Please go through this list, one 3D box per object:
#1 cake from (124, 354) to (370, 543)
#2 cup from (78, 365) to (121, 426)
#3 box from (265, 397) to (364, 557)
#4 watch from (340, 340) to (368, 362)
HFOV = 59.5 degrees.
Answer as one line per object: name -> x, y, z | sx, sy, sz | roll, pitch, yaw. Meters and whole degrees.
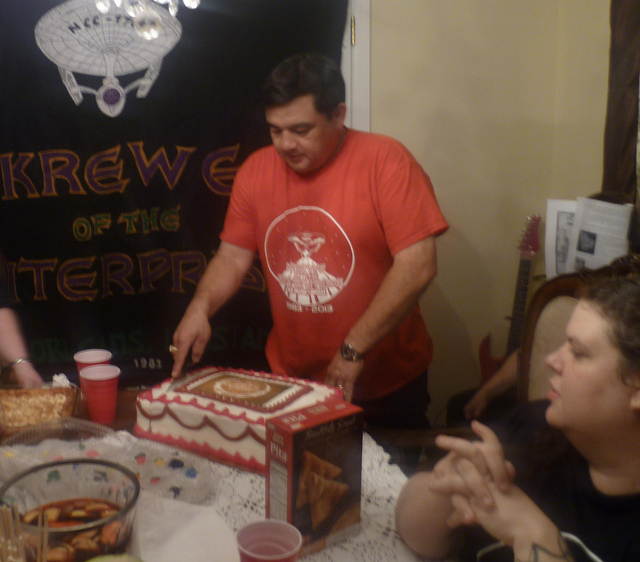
cake -> -0.166, 0.402, 1.350 | 0.319, 0.282, 0.562 | -21, 26, -37
cup -> -0.625, 0.325, 1.659 | 0.132, 0.186, 0.146 | -1, 1, 1
box -> -0.010, 0.396, 1.105 | 0.202, 0.347, 0.104 | -8, 13, -37
watch -> 0.112, 0.253, 2.005 | 0.087, 0.055, 0.044 | 6, 23, 15
